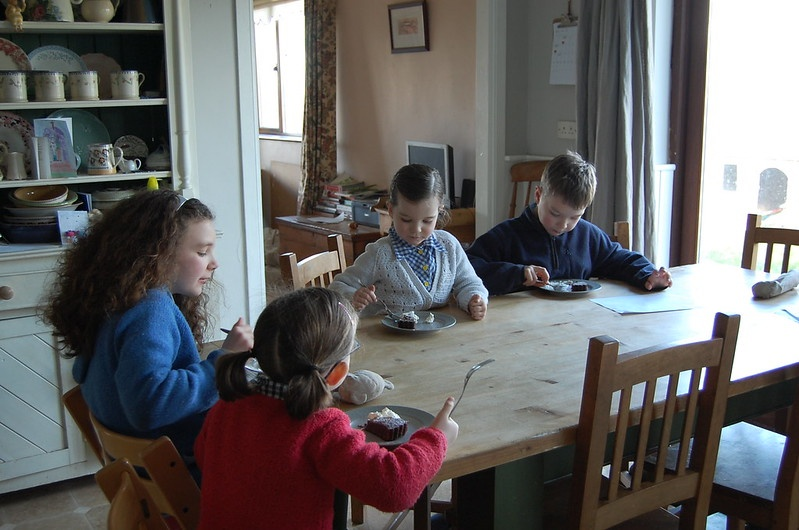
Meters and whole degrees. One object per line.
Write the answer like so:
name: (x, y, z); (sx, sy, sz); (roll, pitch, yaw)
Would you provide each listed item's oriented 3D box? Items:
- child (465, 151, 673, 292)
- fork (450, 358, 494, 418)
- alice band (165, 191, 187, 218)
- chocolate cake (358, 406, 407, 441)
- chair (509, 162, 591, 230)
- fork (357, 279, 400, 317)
child: (0.951, -0.240, 3.184); (0.741, 0.904, 0.492); (-7, 16, -23)
fork: (0.220, 0.376, 1.824); (0.019, 0.163, 0.025); (38, -5, 7)
alice band: (-0.697, -0.188, 1.909); (0.060, 0.069, 0.052); (51, 32, 16)
chocolate cake: (-0.034, 0.417, 1.639); (0.080, 0.049, 0.079); (-12, 23, -39)
chair: (0.922, -0.501, 4.129); (0.430, 0.610, 0.422); (-8, 14, -26)
fork: (-0.098, 0.146, 2.287); (0.197, 0.076, 0.048); (44, -8, 12)
